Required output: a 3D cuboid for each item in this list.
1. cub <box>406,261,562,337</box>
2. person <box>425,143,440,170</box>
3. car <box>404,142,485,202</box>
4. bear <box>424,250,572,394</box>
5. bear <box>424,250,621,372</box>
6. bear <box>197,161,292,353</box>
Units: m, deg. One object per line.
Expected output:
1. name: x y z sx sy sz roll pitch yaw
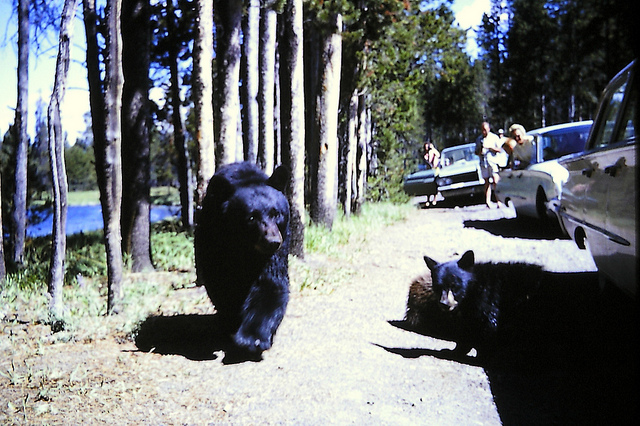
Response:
1. cub: 2.288 1.187 8.973 1.712 0.796 1.190 -8 3 -7
2. person: 3.661 -1.828 19.738 0.399 0.914 0.266 -14 -27 18
3. car: 4.130 -1.284 19.603 1.306 1.216 2.513 -14 5 -8
4. bear: 2.331 1.331 8.897 0.753 1.580 2.569 8 1 40
5. bear: 3.066 1.498 9.259 2.160 2.018 2.258 1 2 6
6. bear: -1.210 0.663 9.140 1.097 2.631 3.813 -5 -1 -18
